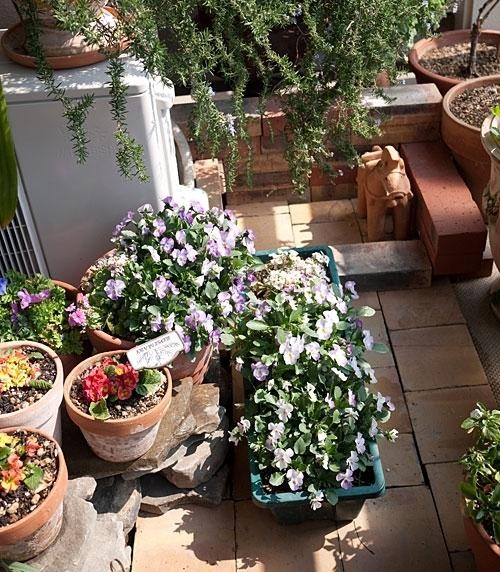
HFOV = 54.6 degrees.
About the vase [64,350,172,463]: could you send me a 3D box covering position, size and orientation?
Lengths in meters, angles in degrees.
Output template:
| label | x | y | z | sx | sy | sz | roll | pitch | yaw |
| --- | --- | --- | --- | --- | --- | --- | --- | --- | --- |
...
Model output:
| label | x | y | z | sx | sy | sz | roll | pitch | yaw |
| --- | --- | --- | --- | --- | --- | --- | --- | --- | --- |
| vase | -0.371 | 0.355 | 1.361 | 0.306 | 0.184 | 0.279 | -7 | 29 | -27 |
